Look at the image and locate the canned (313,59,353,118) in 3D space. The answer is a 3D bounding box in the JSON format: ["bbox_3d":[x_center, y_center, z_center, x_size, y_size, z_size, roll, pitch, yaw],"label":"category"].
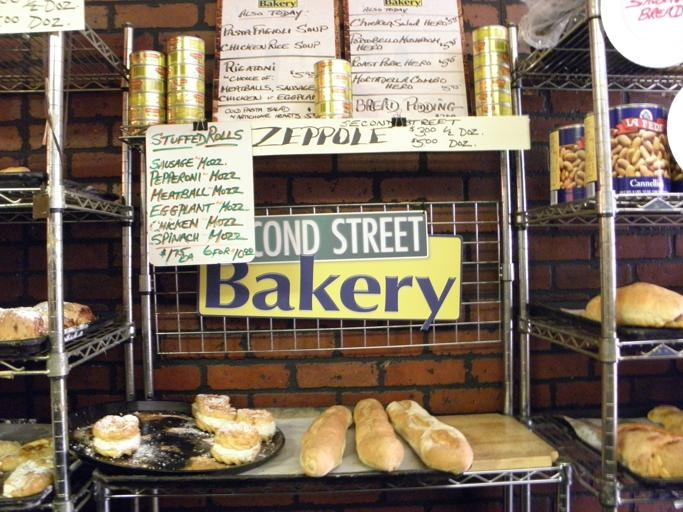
[{"bbox_3d":[-0.031,-0.536,3.434,0.121,0.194,0.067,-4,5,-1],"label":"canned"}]

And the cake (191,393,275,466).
[{"bbox_3d":[-0.345,0.549,3.363,0.203,0.052,0.299,3,7,-28],"label":"cake"}]

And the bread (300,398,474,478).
[{"bbox_3d":[0.129,0.584,3.414,0.534,0.178,0.379,-2,4,-3],"label":"bread"}]

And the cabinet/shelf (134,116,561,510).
[{"bbox_3d":[-0.040,0.194,3.549,1.878,1.235,0.509,0,8,-1],"label":"cabinet/shelf"}]

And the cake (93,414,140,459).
[{"bbox_3d":[-0.721,0.564,3.353,0.160,0.118,0.132,-3,4,-3],"label":"cake"}]
